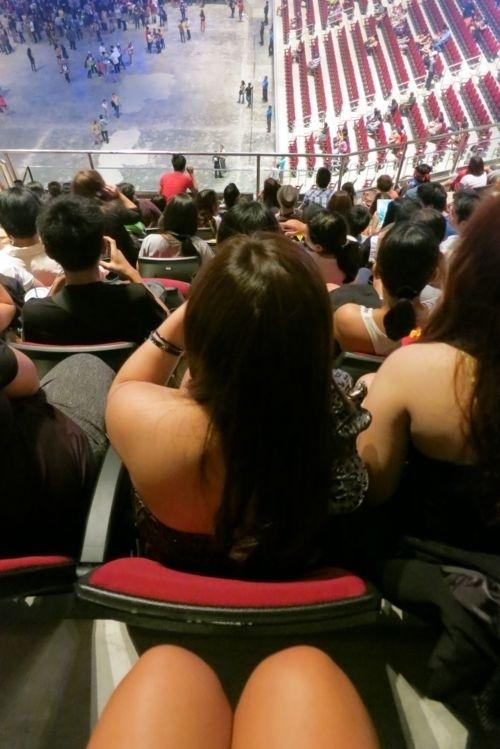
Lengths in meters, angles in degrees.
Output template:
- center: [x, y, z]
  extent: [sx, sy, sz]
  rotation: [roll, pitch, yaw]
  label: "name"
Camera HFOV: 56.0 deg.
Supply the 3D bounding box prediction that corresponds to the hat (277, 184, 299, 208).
- center: [0.356, -1.731, 4.540]
  extent: [0.189, 0.227, 0.255]
  rotation: [0, 34, 2]
  label: "hat"
